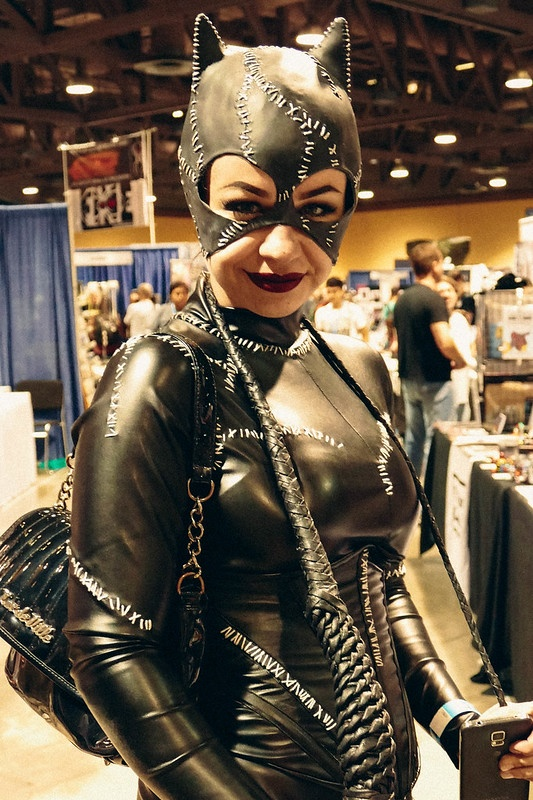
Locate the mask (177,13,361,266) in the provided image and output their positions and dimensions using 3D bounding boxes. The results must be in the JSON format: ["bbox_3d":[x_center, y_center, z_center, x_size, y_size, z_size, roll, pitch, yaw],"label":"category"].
[{"bbox_3d":[0.003,-0.280,0.759,0.191,0.223,0.193,17,31,24],"label":"mask"}]

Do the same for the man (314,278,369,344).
[{"bbox_3d":[0.809,-0.995,8.083,0.682,0.979,0.290,18,50,26],"label":"man"}]

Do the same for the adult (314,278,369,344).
[{"bbox_3d":[0.854,-0.977,8.048,0.624,0.873,0.271,14,46,35],"label":"adult"}]
